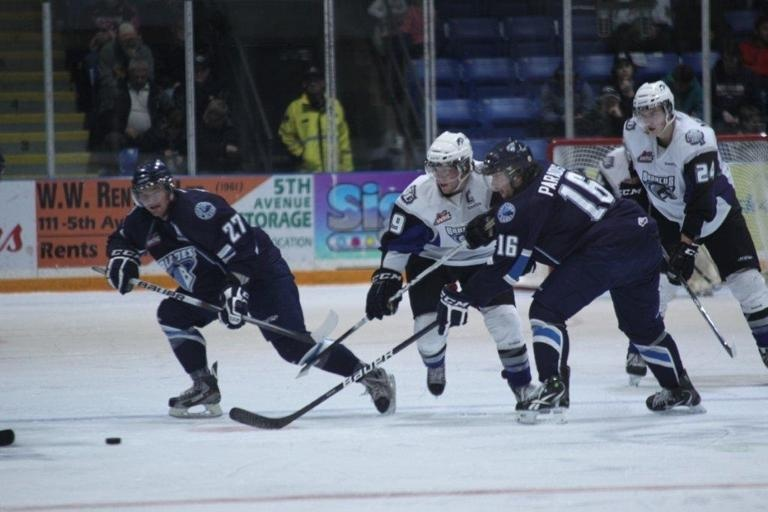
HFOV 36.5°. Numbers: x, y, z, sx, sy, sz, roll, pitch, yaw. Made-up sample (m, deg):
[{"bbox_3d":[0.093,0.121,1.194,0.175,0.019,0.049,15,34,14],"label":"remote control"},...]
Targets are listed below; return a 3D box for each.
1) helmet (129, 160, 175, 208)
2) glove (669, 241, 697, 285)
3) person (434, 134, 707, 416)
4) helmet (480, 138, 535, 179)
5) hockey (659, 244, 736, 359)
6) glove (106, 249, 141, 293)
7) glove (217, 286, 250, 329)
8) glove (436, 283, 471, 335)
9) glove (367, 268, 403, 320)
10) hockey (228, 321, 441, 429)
[{"bbox_3d":[-1.342,-0.427,6.766,0.231,0.250,0.269,-15,3,23],"label":"helmet"},{"bbox_3d":[1.807,0.042,7.136,0.197,0.221,0.097,5,15,-31],"label":"glove"},{"bbox_3d":[1.057,0.120,6.582,1.361,1.555,0.450,-3,8,-8],"label":"person"},{"bbox_3d":[0.693,-0.538,6.555,0.252,0.202,0.184,0,6,9],"label":"helmet"},{"bbox_3d":[2.151,0.328,8.007,0.048,0.839,0.173,-36,-21,15],"label":"hockey"},{"bbox_3d":[-1.522,0.087,6.863,0.194,0.243,0.107,4,-3,19],"label":"glove"},{"bbox_3d":[-0.845,0.289,6.616,0.169,0.228,0.103,8,-4,-14],"label":"glove"},{"bbox_3d":[0.402,0.297,6.837,0.195,0.327,0.248,-1,47,-13],"label":"glove"},{"bbox_3d":[-0.018,0.222,6.916,0.129,0.290,0.223,0,-20,44],"label":"glove"},{"bbox_3d":[-0.303,0.740,7.043,1.290,0.104,0.179,-20,47,-23],"label":"hockey"}]
